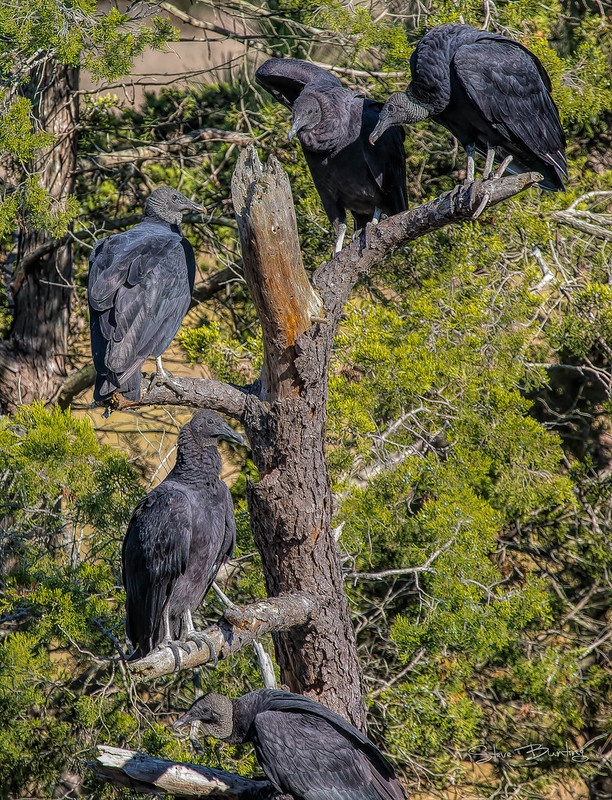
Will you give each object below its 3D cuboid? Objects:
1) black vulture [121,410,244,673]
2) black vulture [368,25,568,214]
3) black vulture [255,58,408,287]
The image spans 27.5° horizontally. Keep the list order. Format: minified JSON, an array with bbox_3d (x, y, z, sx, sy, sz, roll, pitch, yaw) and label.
[{"bbox_3d":[-0.619,0.680,6.262,0.610,1.207,0.546,-5,10,-11],"label":"black vulture"},{"bbox_3d":[0.910,-1.507,6.491,0.680,0.869,1.082,5,13,38],"label":"black vulture"},{"bbox_3d":[0.251,-1.354,6.841,0.581,1.153,1.102,20,36,31],"label":"black vulture"}]
